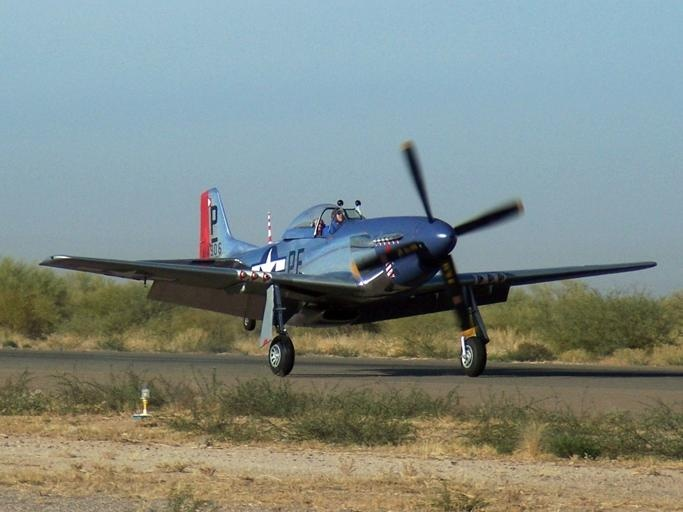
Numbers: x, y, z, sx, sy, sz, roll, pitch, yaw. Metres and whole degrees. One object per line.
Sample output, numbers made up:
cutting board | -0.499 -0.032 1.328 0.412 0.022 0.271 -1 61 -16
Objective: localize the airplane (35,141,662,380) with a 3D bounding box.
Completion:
airplane | -0.456 0.499 26.400 11.595 5.486 8.641 -5 -4 33
